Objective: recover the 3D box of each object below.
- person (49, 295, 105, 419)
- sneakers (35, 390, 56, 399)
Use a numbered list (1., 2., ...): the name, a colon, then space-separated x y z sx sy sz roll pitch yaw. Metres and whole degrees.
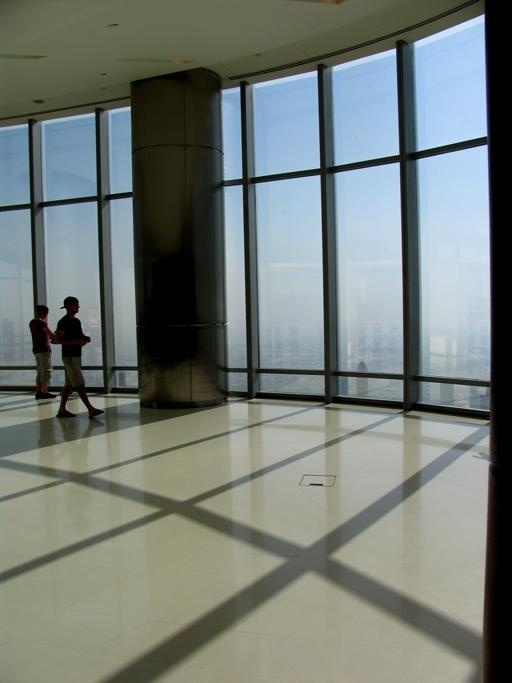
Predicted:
1. person: -2.491 0.221 7.672 0.572 1.170 0.590 -2 1 -21
2. sneakers: -3.705 0.948 9.702 0.420 0.188 0.158 -1 3 -25
